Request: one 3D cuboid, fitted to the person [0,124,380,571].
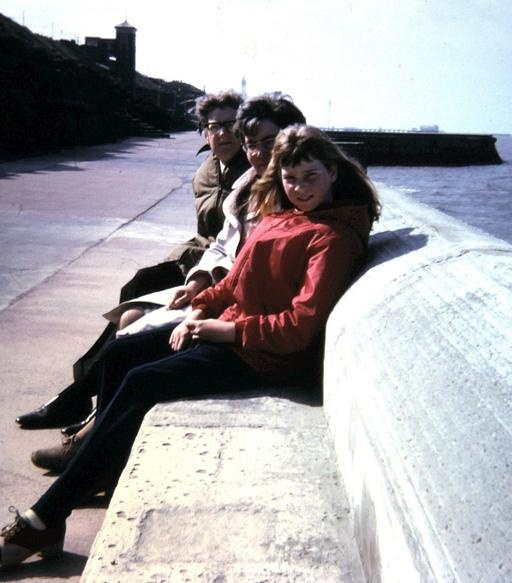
[{"bbox_3d":[-0.146,0.116,1.931,1.555,1.568,0.650,-7,21,-29],"label":"person"}]
